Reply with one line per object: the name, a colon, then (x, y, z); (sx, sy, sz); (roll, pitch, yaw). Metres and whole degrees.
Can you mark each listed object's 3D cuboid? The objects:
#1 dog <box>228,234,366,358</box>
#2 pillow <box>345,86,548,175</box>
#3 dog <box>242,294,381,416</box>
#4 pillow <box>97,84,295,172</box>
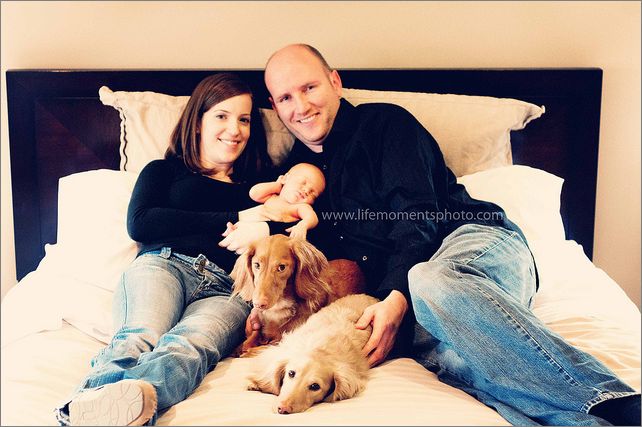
dog: (-0.135, 0.277, 2.354); (0.456, 0.399, 0.705); (0, 10, 15)
pillow: (0.585, -0.364, 2.670); (0.697, 0.449, 0.201); (3, -28, -9)
dog: (-0.013, 0.491, 1.940); (0.270, 0.174, 0.424); (13, 55, 30)
pillow: (-0.571, -0.419, 2.464); (0.659, 0.417, 0.157); (1, -6, -9)
